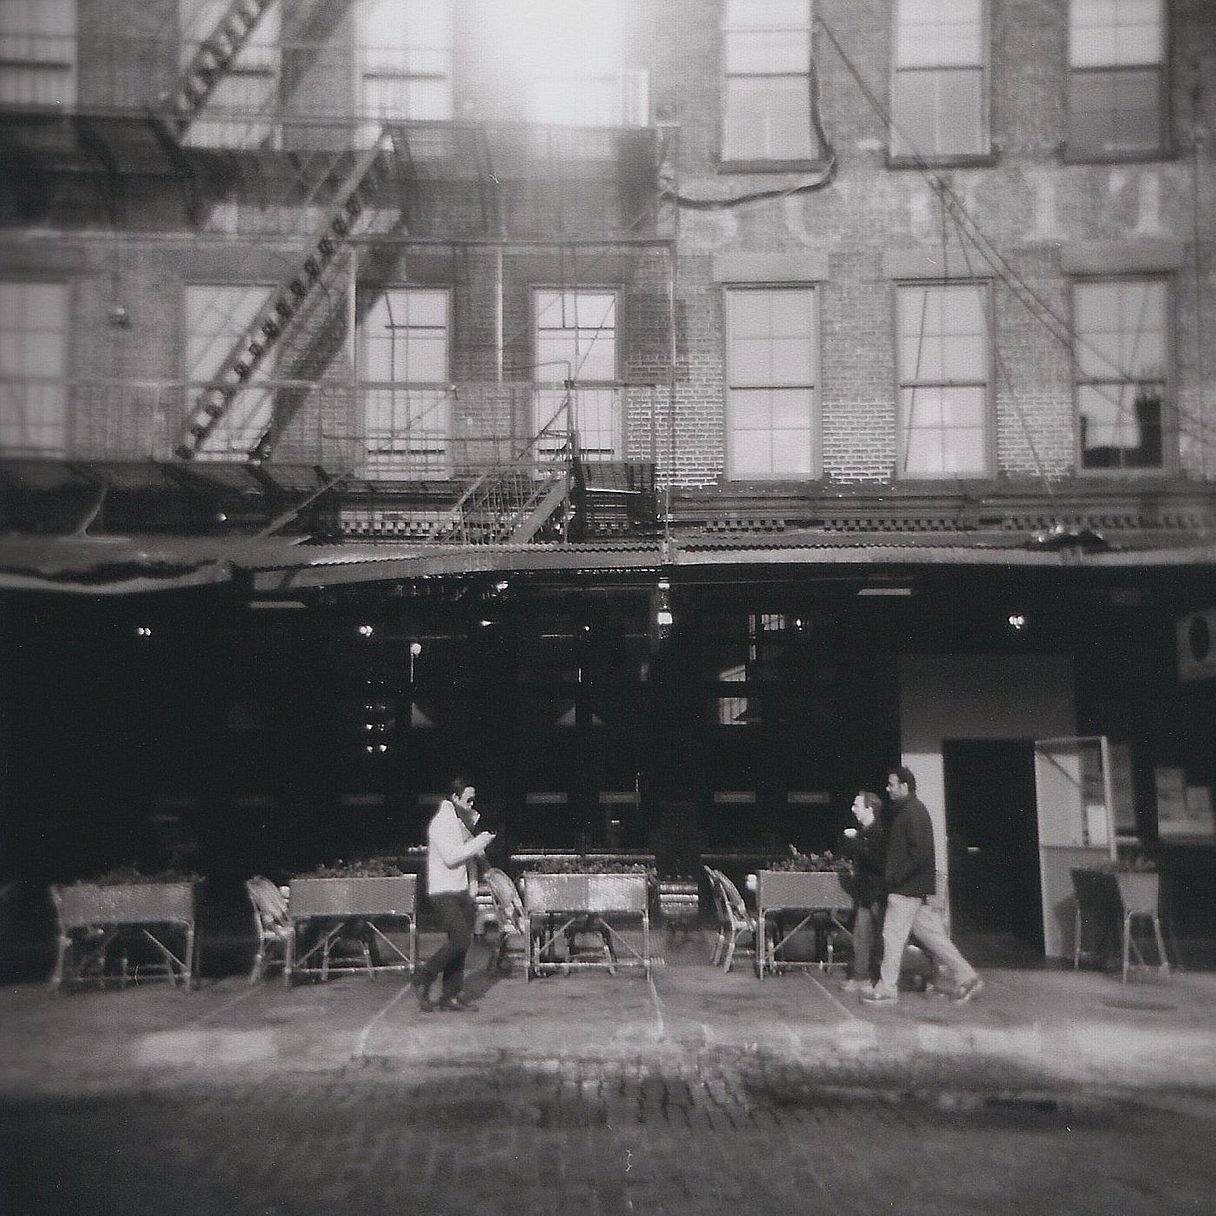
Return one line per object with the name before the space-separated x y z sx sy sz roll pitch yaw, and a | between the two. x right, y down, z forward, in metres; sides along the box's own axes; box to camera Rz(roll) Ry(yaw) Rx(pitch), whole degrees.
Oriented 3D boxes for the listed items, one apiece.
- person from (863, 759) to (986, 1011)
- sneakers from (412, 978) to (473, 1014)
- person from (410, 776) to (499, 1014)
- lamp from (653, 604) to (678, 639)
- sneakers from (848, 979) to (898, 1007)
person | 2.674 2.521 15.859 0.858 2.018 1.141 2 11 10
sneakers | -1.358 3.170 15.137 0.565 0.347 0.224 -2 -7 -1
person | -1.279 2.475 15.411 0.604 1.947 1.310 0 11 -4
lamp | 0.680 0.138 19.827 0.218 0.311 0.478 1 -4 3
sneakers | 2.258 3.284 15.708 0.354 0.211 0.176 5 -8 22
